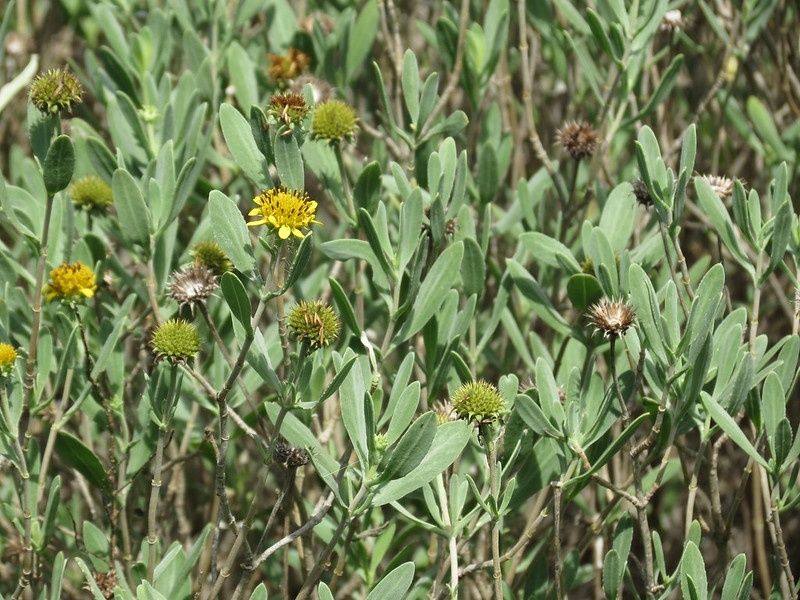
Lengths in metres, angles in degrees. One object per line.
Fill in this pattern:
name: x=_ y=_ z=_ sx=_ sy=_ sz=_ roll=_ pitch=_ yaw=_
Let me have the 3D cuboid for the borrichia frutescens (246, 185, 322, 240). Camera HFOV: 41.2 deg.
borrichia frutescens: x=-0.264 y=-0.199 z=2.374 sx=0.133 sy=0.091 sz=0.149 roll=-11 pitch=-15 yaw=35

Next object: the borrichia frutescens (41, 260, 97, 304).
borrichia frutescens: x=-0.802 y=-0.035 z=2.595 sx=0.131 sy=0.112 sz=0.141 roll=5 pitch=0 yaw=29

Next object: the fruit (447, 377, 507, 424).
fruit: x=0.197 y=0.245 z=2.490 sx=0.103 sy=0.095 sz=0.108 roll=2 pitch=-2 yaw=-44

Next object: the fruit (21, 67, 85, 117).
fruit: x=-0.818 y=-0.516 z=2.534 sx=0.111 sy=0.103 sz=0.115 roll=-30 pitch=28 yaw=-35

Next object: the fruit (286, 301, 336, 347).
fruit: x=-0.193 y=0.048 z=2.377 sx=0.092 sy=0.114 sz=0.105 roll=-1 pitch=-1 yaw=-8

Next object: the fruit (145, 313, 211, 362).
fruit: x=-0.527 y=0.096 z=2.494 sx=0.098 sy=0.109 sz=0.102 roll=2 pitch=13 yaw=-26
